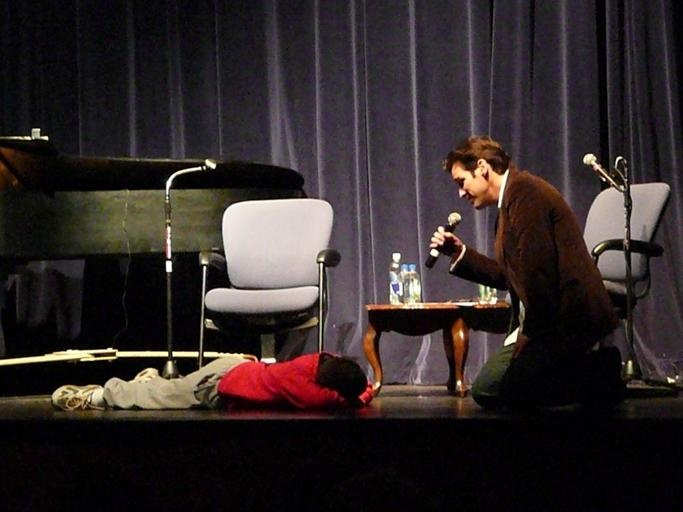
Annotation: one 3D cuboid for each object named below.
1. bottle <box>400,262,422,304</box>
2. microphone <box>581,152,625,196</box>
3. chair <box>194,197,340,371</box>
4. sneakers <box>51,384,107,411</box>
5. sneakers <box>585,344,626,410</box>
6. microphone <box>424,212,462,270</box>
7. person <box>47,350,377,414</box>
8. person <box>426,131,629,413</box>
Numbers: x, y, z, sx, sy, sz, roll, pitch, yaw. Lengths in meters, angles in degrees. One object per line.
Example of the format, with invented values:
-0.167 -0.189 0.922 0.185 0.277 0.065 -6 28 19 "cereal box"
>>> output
0.480 0.177 4.864 0.124 0.240 0.455 2 3 4 "bottle"
1.719 -0.540 4.602 0.129 0.114 0.369 -17 53 -29 "microphone"
-0.451 0.222 4.373 0.885 1.247 0.842 1 -1 -16 "chair"
-1.262 0.676 3.340 0.167 0.079 0.132 10 -7 -22 "sneakers"
1.168 0.535 3.122 0.146 0.279 0.261 -2 -18 10 "sneakers"
0.612 -0.085 4.212 0.121 0.402 0.119 34 -9 -7 "microphone"
-0.509 0.622 3.309 1.019 0.261 0.596 -5 -10 2 "person"
0.896 0.073 3.315 0.514 1.297 0.833 0 4 -32 "person"
